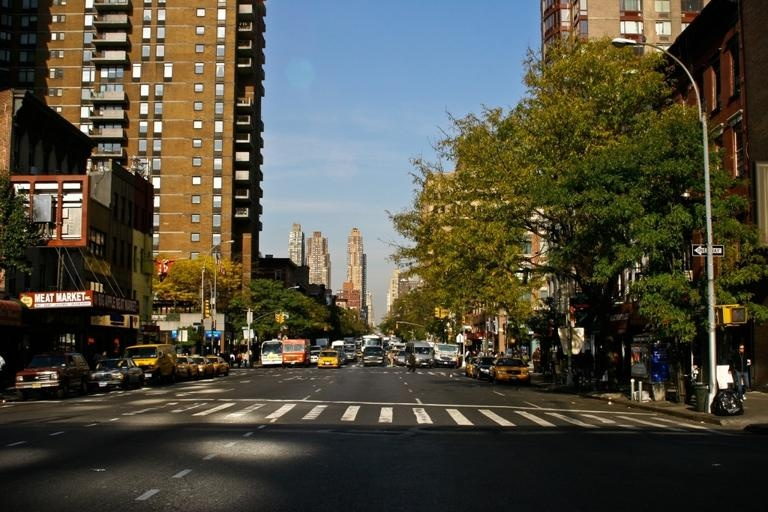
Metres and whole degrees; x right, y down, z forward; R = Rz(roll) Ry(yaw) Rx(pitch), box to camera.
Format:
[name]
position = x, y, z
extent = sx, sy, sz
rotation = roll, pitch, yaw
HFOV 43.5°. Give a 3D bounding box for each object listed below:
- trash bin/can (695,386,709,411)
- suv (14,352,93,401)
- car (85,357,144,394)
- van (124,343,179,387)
[trash bin/can]
position = 14.089, 6.248, 42.389
extent = 0.850, 1.314, 0.894
rotation = 0, -8, 16
[suv]
position = -17.914, 6.484, 52.316
extent = 2.365, 2.346, 5.079
rotation = -3, -7, 2
[car]
position = -15.770, 6.957, 56.558
extent = 1.828, 1.673, 4.415
rotation = 0, -4, -4
[van]
position = -15.696, 7.095, 64.134
extent = 2.617, 2.450, 4.828
rotation = -2, -6, 4
